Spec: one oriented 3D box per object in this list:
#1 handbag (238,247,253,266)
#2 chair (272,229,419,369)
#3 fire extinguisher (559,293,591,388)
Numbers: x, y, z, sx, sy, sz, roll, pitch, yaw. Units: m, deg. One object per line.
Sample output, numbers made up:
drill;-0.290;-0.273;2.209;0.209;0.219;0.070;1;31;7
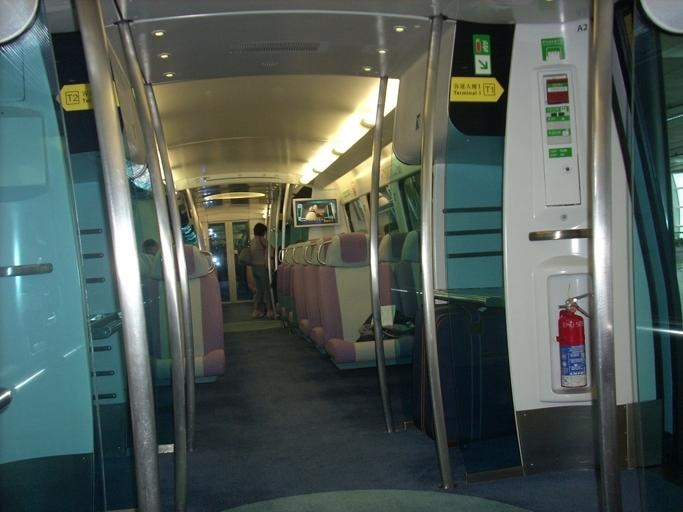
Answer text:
handbag;-1.414;-0.001;7.962;0.230;0.238;0.120;-2;20;-23
chair;-0.106;0.515;6.570;1.760;1.584;1.418;1;-11;-19
fire extinguisher;1.465;0.543;3.441;0.178;0.551;0.194;2;-4;-40
